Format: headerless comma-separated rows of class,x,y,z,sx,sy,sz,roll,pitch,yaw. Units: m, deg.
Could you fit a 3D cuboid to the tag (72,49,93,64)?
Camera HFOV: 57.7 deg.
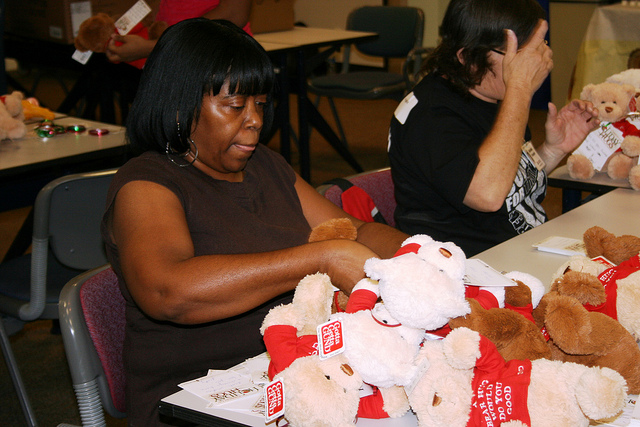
tag,-1.178,-0.783,2.882,0.084,0.100,0.161,-5,29,-24

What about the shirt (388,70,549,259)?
shirt,0.651,-0.129,2.249,0.738,0.670,0.524,2,7,-32

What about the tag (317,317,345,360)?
tag,0.021,0.249,1.160,0.051,0.068,0.047,1,26,-12

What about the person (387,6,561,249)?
person,0.567,-0.313,2.056,0.584,0.813,0.416,16,26,17

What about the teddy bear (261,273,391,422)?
teddy bear,-0.005,0.303,1.282,0.237,0.302,0.140,-19,-9,5

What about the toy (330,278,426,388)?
toy,0.109,0.254,1.231,0.195,0.200,0.087,33,-22,-7

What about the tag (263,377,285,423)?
tag,-0.091,0.371,1.158,0.052,0.075,0.016,-12,-11,1

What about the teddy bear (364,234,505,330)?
teddy bear,0.208,0.142,1.188,0.192,0.140,0.183,-11,31,-34

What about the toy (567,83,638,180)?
toy,1.148,-0.324,2.353,0.296,0.409,0.259,7,20,31

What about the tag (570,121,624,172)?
tag,1.148,-0.272,2.412,0.051,0.198,0.207,12,37,-57

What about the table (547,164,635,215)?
table,1.096,-0.117,2.413,0.228,0.229,0.238,4,19,19

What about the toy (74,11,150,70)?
toy,-1.064,-0.871,2.983,0.362,0.282,0.281,-5,28,-25

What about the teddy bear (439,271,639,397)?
teddy bear,0.494,0.278,1.287,0.303,0.117,0.309,22,28,39

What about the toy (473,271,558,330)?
toy,0.445,0.192,1.337,0.149,0.058,0.127,31,25,28
